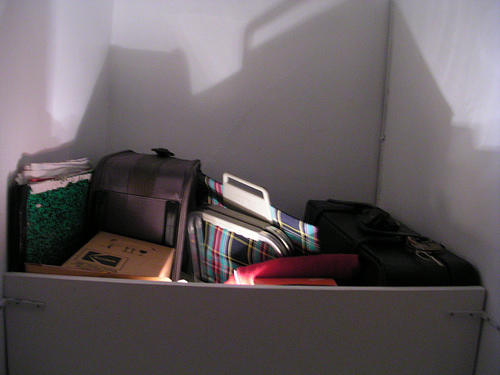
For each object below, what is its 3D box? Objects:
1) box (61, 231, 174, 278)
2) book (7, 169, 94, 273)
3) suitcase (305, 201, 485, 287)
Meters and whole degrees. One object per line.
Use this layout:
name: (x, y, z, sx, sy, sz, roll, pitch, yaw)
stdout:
box: (-0.526, 0.285, 1.710, 0.411, 0.132, 0.232, 3, 9, -3)
book: (-0.799, 0.132, 1.607, 0.061, 0.262, 0.353, 13, 12, 9)
suitcase: (0.607, 0.239, 1.860, 0.511, 0.273, 0.710, 2, 9, -8)
